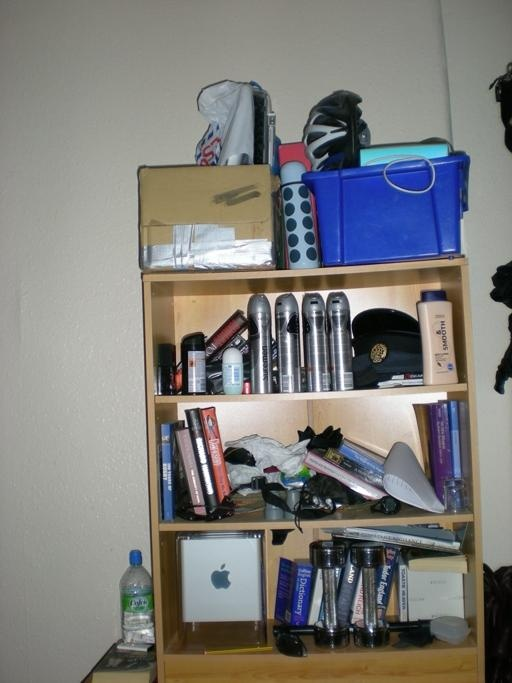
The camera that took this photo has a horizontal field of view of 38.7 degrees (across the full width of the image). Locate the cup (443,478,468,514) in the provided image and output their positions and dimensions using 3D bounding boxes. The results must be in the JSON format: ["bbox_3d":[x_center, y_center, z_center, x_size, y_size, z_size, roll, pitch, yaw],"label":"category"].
[{"bbox_3d":[0.492,0.379,1.797,0.057,0.085,0.041,-3,0,2],"label":"cup"}]

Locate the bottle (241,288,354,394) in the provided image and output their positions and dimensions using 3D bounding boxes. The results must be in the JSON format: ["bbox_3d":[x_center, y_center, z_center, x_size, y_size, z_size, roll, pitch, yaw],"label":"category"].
[{"bbox_3d":[0.105,0.008,1.858,0.275,0.259,0.064,-2,-5,4],"label":"bottle"}]

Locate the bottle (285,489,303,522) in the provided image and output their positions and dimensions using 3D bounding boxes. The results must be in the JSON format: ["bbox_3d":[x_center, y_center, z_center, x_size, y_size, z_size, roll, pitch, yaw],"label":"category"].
[{"bbox_3d":[0.092,0.402,1.796,0.037,0.069,0.053,-3,0,2],"label":"bottle"}]

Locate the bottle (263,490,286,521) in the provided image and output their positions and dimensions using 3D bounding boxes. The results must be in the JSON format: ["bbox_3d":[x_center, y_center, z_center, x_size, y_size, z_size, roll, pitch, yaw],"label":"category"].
[{"bbox_3d":[0.037,0.412,1.840,0.059,0.084,0.059,-1,-1,0],"label":"bottle"}]

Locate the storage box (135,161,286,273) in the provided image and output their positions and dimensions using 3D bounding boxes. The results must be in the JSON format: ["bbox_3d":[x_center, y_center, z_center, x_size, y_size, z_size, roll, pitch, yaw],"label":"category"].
[{"bbox_3d":[-0.118,-0.297,1.756,0.421,0.290,0.230,-1,-5,2],"label":"storage box"}]

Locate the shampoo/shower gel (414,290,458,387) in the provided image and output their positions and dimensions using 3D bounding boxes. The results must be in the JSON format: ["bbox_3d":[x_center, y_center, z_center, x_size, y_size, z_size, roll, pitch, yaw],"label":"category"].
[{"bbox_3d":[0.444,-0.011,1.799,0.085,0.240,0.071,-3,0,13],"label":"shampoo/shower gel"}]

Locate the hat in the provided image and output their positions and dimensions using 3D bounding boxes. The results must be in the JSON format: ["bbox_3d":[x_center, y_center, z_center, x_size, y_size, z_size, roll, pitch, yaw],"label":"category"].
[{"bbox_3d":[0.343,0.020,1.889,0.160,0.116,0.217,-11,-24,33],"label":"hat"}]
